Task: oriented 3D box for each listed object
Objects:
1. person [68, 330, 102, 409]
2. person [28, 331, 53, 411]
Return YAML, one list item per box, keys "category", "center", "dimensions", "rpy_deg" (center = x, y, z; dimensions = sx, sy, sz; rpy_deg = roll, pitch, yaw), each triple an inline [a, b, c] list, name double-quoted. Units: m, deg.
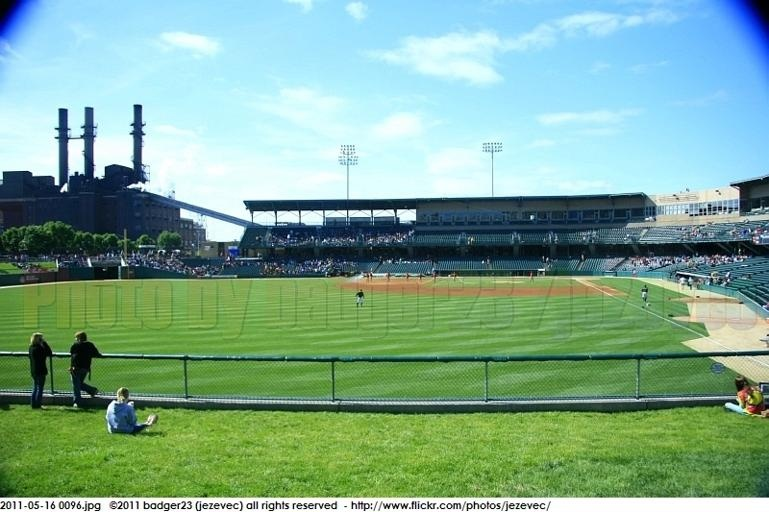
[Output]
- category: "person"
  center: [-13.939, 5.183, 40.358]
  dimensions: [1.167, 3.404, 1.433]
  rpy_deg: [1, -3, -19]
- category: "person"
  center: [-15.825, 5.149, 40.016]
  dimensions: [1.194, 3.269, 1.279]
  rpy_deg: [0, -3, 6]
